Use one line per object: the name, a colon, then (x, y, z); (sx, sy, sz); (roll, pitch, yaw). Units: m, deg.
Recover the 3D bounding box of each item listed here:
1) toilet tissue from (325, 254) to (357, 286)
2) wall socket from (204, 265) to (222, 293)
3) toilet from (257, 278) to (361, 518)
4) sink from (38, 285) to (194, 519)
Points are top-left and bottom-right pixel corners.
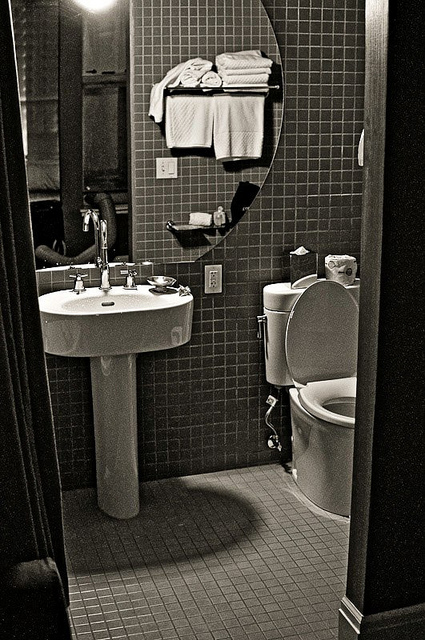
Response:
toilet tissue: (0.554, -0.216, 2.495); (0.092, 0.155, 0.121); (0, 9, 2)
wall socket: (-0.002, -0.176, 2.398); (0.064, 0.150, 0.012); (-5, 15, -22)
toilet: (0.458, 0.314, 2.306); (0.274, 0.851, 0.499); (-4, 11, -3)
sink: (-0.356, 0.275, 2.082); (0.430, 1.000, 0.418); (-4, 12, -18)
